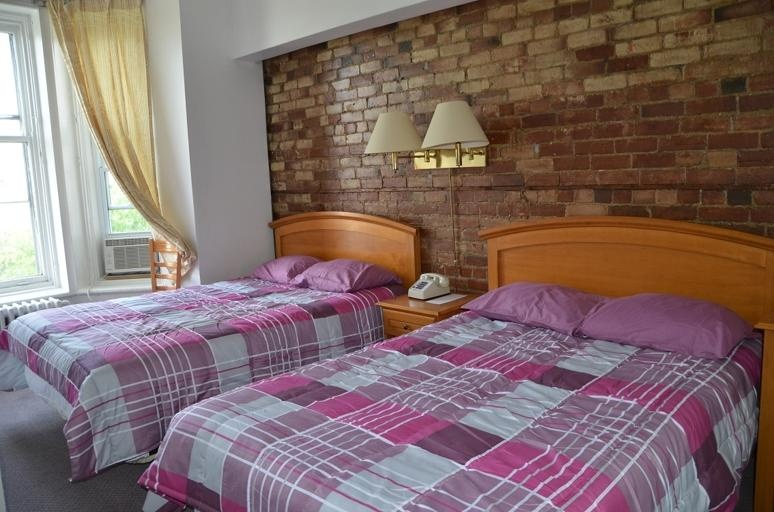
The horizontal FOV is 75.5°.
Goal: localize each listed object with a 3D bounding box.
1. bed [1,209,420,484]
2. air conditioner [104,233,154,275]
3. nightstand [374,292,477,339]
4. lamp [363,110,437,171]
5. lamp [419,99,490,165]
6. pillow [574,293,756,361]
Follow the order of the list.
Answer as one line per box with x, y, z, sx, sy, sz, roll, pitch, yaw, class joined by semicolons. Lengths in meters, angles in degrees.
-1.053;0.522;3.855;2.706;1.069;1.978;-4;7;-45;bed
-2.789;0.011;5.339;0.304;0.397;0.539;0;3;38;air conditioner
0.269;0.401;3.669;0.481;0.407;0.412;6;10;41;nightstand
0.073;-0.899;3.966;0.536;0.360;0.491;-2;8;-5;lamp
0.420;-0.831;3.607;0.577;0.442;0.504;-2;6;-5;lamp
1.453;0.318;2.685;0.439;0.139;0.569;-8;7;-39;pillow
